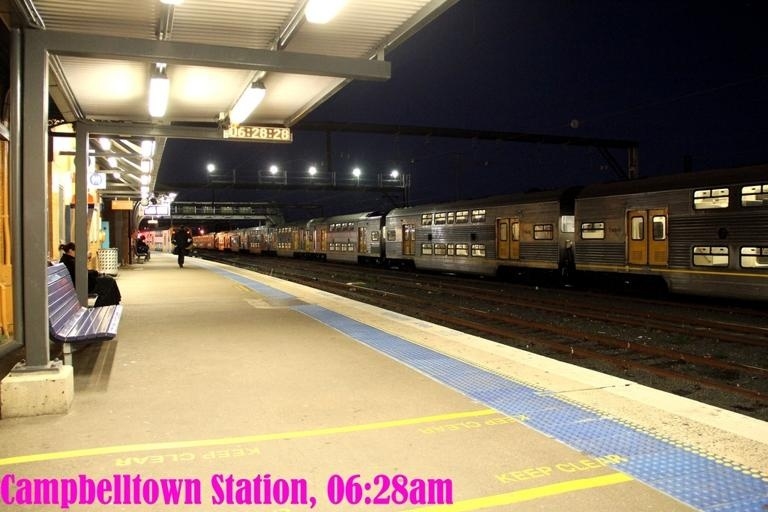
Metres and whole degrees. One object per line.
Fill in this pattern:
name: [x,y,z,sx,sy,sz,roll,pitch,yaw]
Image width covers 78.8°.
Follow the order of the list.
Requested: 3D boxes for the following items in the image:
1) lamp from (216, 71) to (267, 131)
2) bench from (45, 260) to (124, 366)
lamp: [-2.926,-3.031,9.561,0.831,0.435,3.445,-2,5,-19]
bench: [-4.942,0.954,7.745,0.724,0.642,1.696,-3,5,-20]
